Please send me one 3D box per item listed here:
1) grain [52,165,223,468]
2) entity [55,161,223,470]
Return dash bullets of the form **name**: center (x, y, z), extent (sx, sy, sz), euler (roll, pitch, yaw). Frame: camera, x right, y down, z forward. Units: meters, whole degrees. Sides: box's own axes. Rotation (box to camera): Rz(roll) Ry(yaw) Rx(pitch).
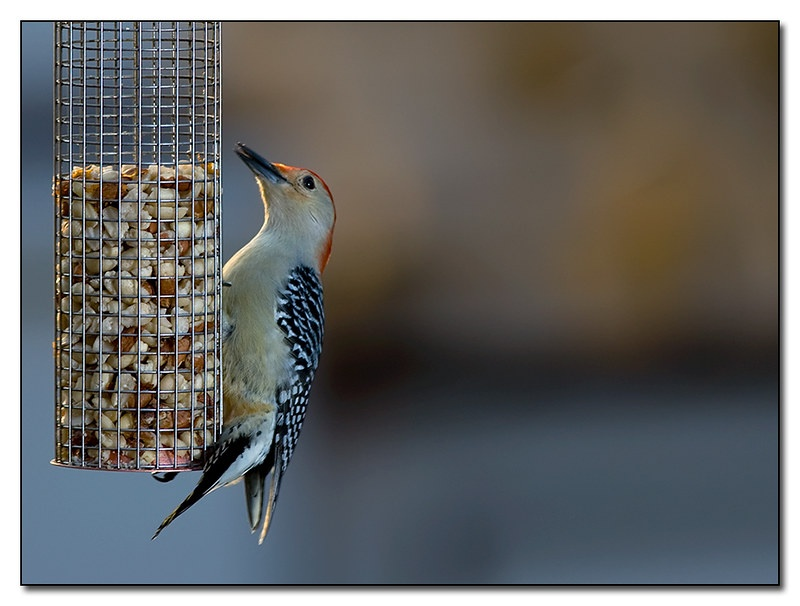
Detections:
- **grain**: center (-1.339, 0.019, 6.488), extent (0.851, 0.898, 1.693), euler (-1, -93, -27)
- **entity**: center (-1.365, 0.076, 6.372), extent (0.662, 0.727, 1.644), euler (-11, -82, -18)
